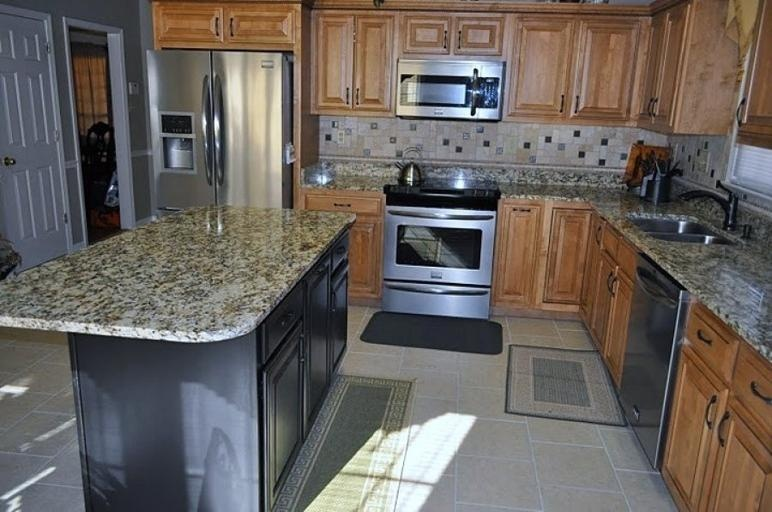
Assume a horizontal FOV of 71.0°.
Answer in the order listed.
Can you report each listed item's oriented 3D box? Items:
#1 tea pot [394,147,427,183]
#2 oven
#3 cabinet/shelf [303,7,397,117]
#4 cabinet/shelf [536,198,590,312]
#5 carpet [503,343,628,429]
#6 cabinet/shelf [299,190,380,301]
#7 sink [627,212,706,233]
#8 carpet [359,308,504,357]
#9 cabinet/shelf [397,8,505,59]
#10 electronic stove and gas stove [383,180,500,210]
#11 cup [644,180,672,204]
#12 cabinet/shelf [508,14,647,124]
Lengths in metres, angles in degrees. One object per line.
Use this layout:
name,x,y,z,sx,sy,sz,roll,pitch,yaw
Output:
tea pot,0.244,-0.875,5.101,0.253,0.339,0.250,2,12,-1
oven,0.402,-0.109,5.172,1.250,1.159,0.919,2,10,7
cabinet/shelf,-0.301,-1.817,4.915,0.878,0.981,0.509,2,15,3
cabinet/shelf,1.571,0.008,4.741,0.463,1.056,0.126,9,24,24
carpet,1.302,0.919,4.031,0.830,0.013,1.069,6,19,17
cabinet/shelf,-0.492,-0.047,5.133,0.868,1.044,0.780,-5,-10,-17
sink,2.060,-0.243,3.991,0.294,0.094,0.224,8,29,16
carpet,0.405,0.636,4.628,1.167,0.063,0.614,4,17,7
cabinet/shelf,0.674,-2.009,4.941,1.087,0.379,0.327,15,28,31
electronic stove and gas stove,0.483,-0.522,4.733,1.009,0.172,0.269,4,17,5
cup,2.264,-0.557,4.488,0.196,0.215,0.168,7,17,16
cabinet/shelf,1.645,-1.668,4.964,1.229,0.981,0.468,0,10,-8
